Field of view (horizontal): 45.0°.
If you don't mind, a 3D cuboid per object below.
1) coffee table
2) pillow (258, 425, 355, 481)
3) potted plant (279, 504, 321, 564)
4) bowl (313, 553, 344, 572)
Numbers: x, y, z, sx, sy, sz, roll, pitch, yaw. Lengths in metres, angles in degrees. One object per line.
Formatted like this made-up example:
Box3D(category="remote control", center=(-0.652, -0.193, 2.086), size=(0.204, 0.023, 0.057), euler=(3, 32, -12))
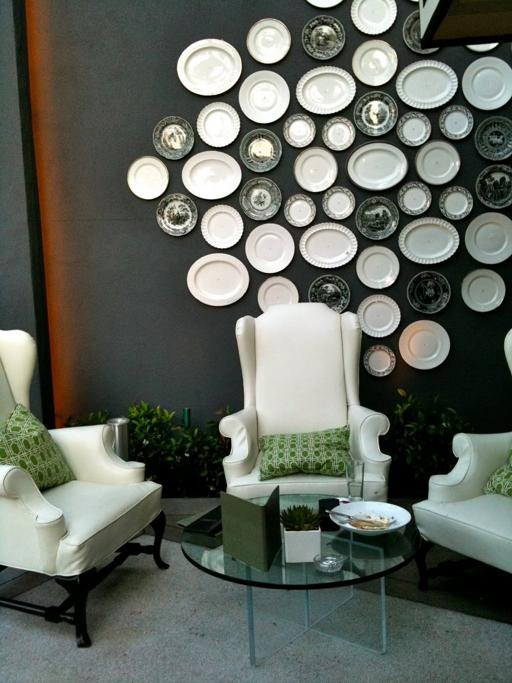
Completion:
Box3D(category="coffee table", center=(0.068, 0.647, 1.891), size=(0.643, 0.283, 0.636), euler=(5, 12, 37))
Box3D(category="pillow", center=(0.195, 0.456, 2.573), size=(0.388, 0.158, 0.335), euler=(-1, 6, 8))
Box3D(category="potted plant", center=(0.135, 0.574, 1.832), size=(0.157, 0.168, 0.154), euler=(-1, 1, 0))
Box3D(category="bowl", center=(0.211, 0.647, 1.796), size=(0.086, 0.020, 0.098), euler=(-1, 6, 7))
